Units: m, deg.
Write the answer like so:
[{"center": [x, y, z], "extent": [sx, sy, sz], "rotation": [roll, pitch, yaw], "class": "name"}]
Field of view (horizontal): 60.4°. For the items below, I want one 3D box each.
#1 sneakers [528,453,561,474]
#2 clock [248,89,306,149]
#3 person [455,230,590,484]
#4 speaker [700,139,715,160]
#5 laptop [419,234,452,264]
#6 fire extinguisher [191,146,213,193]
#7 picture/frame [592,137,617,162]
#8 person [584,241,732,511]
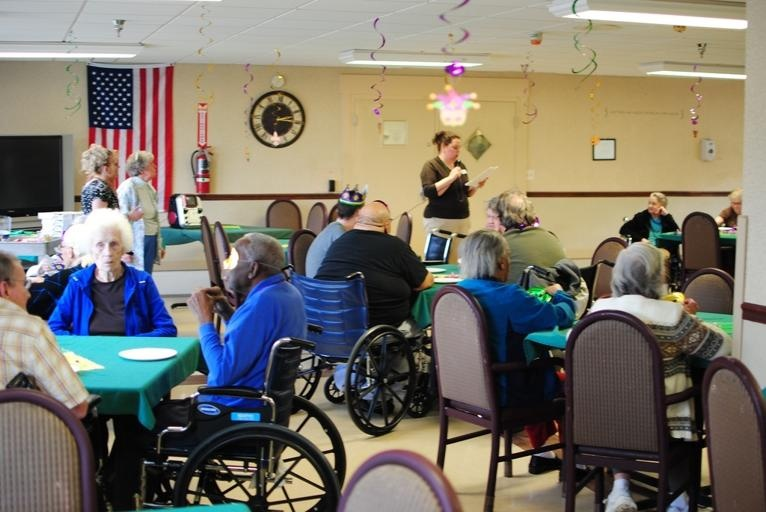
[{"center": [1.030, 1.315, 4.243], "extent": [0.269, 0.102, 0.087], "rotation": [-5, 5, -27], "class": "sneakers"}, {"center": [-1.683, -2.174, 10.182], "extent": [0.905, 0.875, 0.061], "rotation": [-5, 4, -18], "class": "clock"}, {"center": [0.805, 0.614, 3.895], "extent": [0.742, 1.542, 0.453], "rotation": [-2, 2, -40], "class": "person"}, {"center": [5.886, -1.943, 11.945], "extent": [0.259, 0.391, 0.120], "rotation": [-1, 2, -6], "class": "speaker"}, {"center": [0.496, -0.083, 6.053], "extent": [0.221, 0.373, 0.301], "rotation": [3, -2, 13], "class": "laptop"}, {"center": [-2.745, -1.307, 9.935], "extent": [0.289, 0.714, 0.263], "rotation": [-1, 2, -17], "class": "fire extinguisher"}, {"center": [3.858, -1.902, 11.551], "extent": [0.437, 0.350, 0.034], "rotation": [-1, 2, -11], "class": "picture/frame"}, {"center": [1.440, 0.674, 3.455], "extent": [0.790, 1.493, 0.411], "rotation": [-1, 2, -13], "class": "person"}]
